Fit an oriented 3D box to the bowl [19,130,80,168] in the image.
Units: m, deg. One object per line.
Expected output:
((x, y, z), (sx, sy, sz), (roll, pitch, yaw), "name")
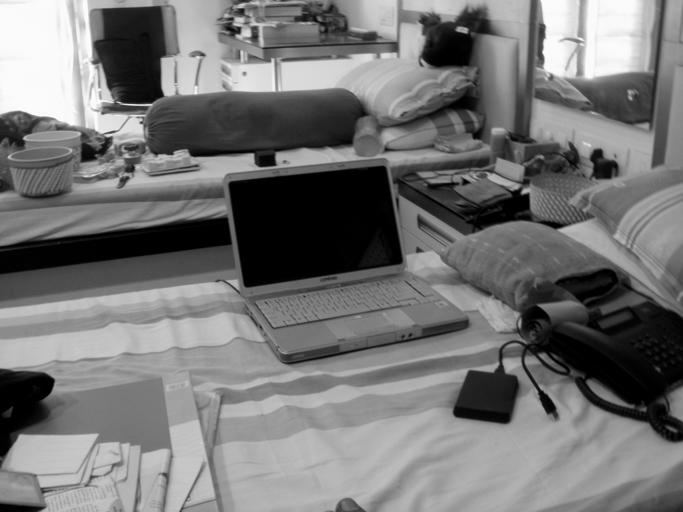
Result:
((-1.268, -0.516, 2.320), (0.189, 0.152, 0.208), (2, 21, -1), "bowl")

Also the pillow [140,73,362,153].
((-0.360, -0.729, 2.796), (1.238, 0.405, 0.393), (-5, 11, -11), "pillow")

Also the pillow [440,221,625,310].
((0.419, -0.056, 1.267), (0.240, 0.105, 0.285), (-19, 25, -16), "pillow")

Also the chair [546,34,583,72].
((0.919, -0.839, 2.176), (0.141, 0.145, 0.143), (-12, 23, -39), "chair")

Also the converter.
((0.281, 0.257, 0.982), (0.100, 0.026, 0.140), (-2, 25, 30), "converter")

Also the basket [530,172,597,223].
((0.772, -0.213, 1.819), (0.187, 0.086, 0.191), (-13, 29, -21), "basket")

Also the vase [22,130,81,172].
((-1.300, -0.519, 2.346), (0.215, 0.162, 0.205), (22, 31, 36), "vase")

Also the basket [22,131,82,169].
((-1.269, -0.517, 2.319), (0.196, 0.156, 0.210), (-12, 25, -32), "basket")

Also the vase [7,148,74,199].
((-1.206, -0.349, 2.138), (0.216, 0.148, 0.230), (0, 18, -4), "vase")

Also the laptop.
((-0.013, -0.007, 1.198), (0.482, 0.345, 0.495), (-12, 30, -23), "laptop")

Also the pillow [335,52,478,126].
((0.323, -0.862, 2.827), (0.503, 0.172, 0.549), (-42, 27, -15), "pillow")

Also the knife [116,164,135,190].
((-0.934, -0.342, 2.271), (0.049, 0.040, 0.145), (0, 38, 4), "knife")

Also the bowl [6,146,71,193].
((-1.199, -0.336, 2.108), (0.205, 0.141, 0.219), (1, 19, 0), "bowl")
